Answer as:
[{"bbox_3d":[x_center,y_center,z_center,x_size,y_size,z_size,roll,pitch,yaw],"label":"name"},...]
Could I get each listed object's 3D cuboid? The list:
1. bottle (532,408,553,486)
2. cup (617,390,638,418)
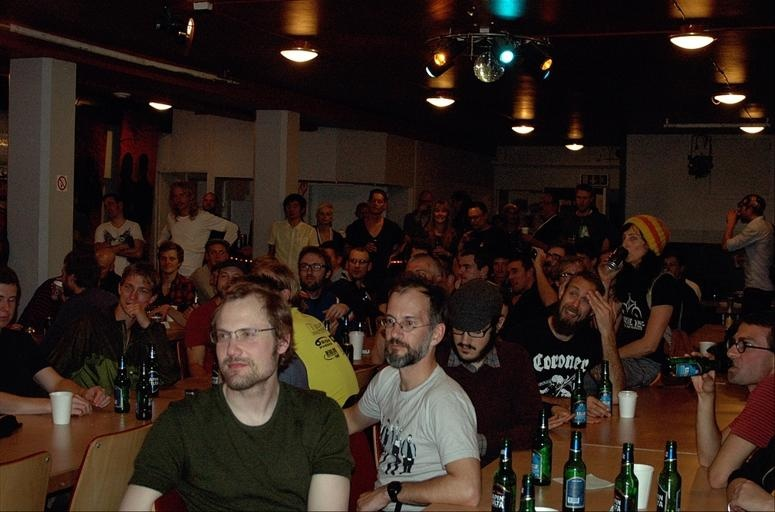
[{"bbox_3d":[0.764,0.932,3.108,0.099,0.335,0.252,1,-4,15],"label":"bottle"},{"bbox_3d":[1.517,0.933,3.982,0.157,0.151,0.153,0,-5,0],"label":"cup"}]
